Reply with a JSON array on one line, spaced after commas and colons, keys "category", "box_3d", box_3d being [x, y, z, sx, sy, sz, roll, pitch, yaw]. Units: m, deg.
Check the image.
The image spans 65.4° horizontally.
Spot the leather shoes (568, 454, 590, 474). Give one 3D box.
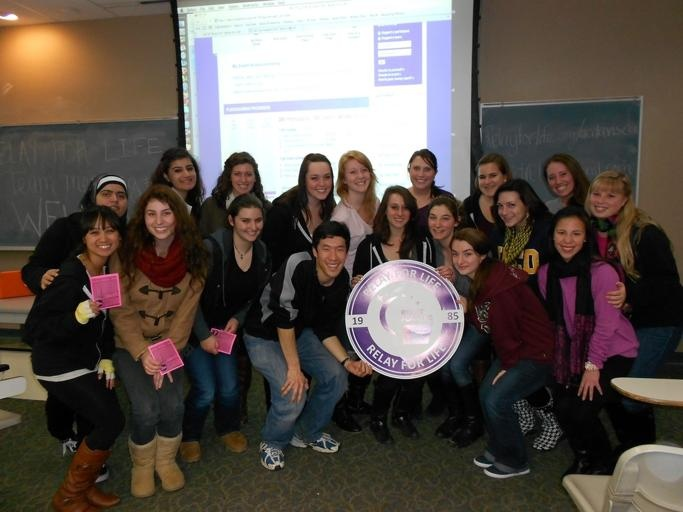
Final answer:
[{"category": "leather shoes", "box_3d": [1.621, 1.429, 3.633, 0.087, 0.157, 0.049, 25, -7, 31]}]

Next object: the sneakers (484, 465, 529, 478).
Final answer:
[{"category": "sneakers", "box_3d": [1.143, 1.462, 3.671, 0.263, 0.112, 0.115, 1, 0, 0]}]

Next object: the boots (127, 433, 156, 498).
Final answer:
[{"category": "boots", "box_3d": [-1.319, 1.392, 3.542, 0.179, 0.355, 0.188, -6, 15, -22]}]

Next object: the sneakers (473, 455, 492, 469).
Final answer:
[{"category": "sneakers", "box_3d": [0.994, 1.442, 3.732, 0.110, 0.051, 0.065, 0, 32, 10]}]

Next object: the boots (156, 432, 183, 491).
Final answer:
[{"category": "boots", "box_3d": [-1.164, 1.384, 3.591, 0.177, 0.330, 0.196, -6, 15, -23]}]

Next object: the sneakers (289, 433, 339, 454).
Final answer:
[{"category": "sneakers", "box_3d": [-0.200, 1.378, 3.987, 0.328, 0.181, 0.153, 0, 0, 8]}]

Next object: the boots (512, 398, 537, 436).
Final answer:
[{"category": "boots", "box_3d": [1.405, 1.191, 4.101, 0.102, 0.095, 0.227, -38, 23, -30]}]
